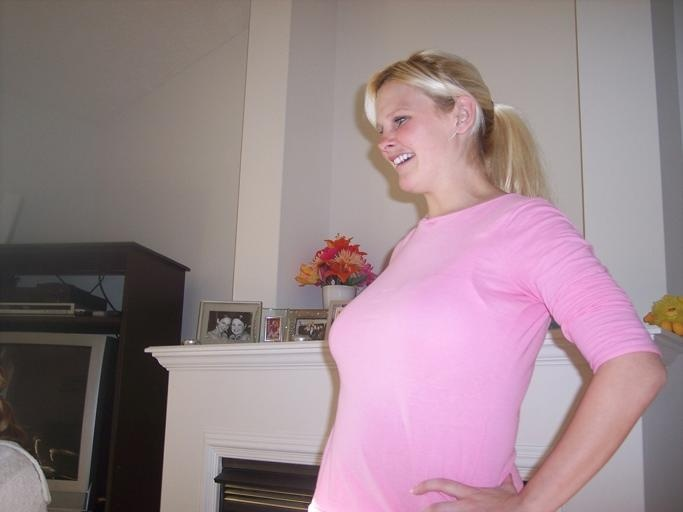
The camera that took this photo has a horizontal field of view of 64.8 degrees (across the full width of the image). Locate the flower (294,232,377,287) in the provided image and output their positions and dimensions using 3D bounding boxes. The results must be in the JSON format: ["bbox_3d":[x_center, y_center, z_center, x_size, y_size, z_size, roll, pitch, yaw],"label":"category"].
[{"bbox_3d":[-0.003,0.023,2.381,0.247,0.207,0.245,-9,14,-18],"label":"flower"}]

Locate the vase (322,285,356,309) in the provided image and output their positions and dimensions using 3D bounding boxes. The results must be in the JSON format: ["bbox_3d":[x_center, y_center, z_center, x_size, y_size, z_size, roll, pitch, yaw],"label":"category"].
[{"bbox_3d":[-0.012,0.173,2.270,0.101,0.078,0.106,1,-13,-3],"label":"vase"}]
